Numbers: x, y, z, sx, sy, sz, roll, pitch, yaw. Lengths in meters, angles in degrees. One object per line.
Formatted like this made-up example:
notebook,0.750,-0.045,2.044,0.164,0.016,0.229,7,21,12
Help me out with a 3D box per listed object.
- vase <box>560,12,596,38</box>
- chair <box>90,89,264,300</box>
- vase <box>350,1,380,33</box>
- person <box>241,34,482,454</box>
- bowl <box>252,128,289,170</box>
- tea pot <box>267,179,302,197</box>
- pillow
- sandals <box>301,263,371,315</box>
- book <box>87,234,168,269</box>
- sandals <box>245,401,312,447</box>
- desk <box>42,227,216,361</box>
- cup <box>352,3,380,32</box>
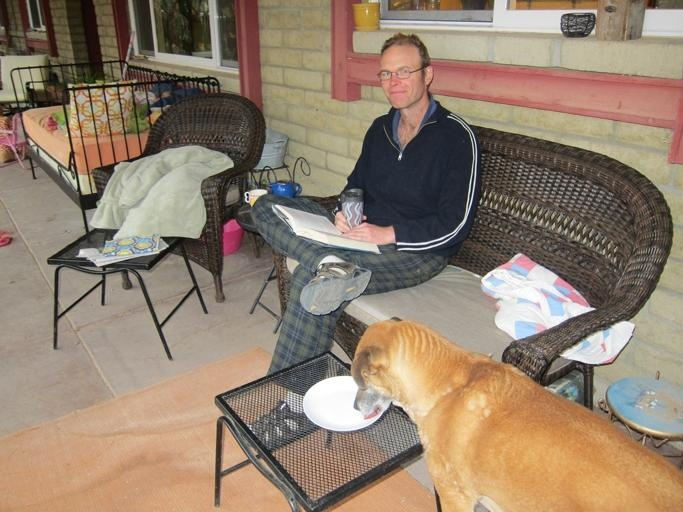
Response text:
vase,1.040,-1.030,2.253,0.147,0.077,0.131,-10,28,-15
chair,-0.922,-0.518,4.085,1.366,1.485,1.320,21,27,33
vase,0.159,-1.476,3.142,0.230,0.166,0.223,5,27,14
person,0.033,-0.161,2.696,1.515,1.772,0.961,-16,30,-26
bowl,-0.555,-0.888,4.192,0.354,0.228,0.299,-13,39,-22
tea pot,-0.388,-0.477,3.491,0.268,0.125,0.155,6,26,2
pillow,-2.124,-1.264,4.416,0.687,0.512,0.251,-16,36,-35
sandals,-0.016,0.125,2.099,0.341,0.157,0.157,-1,35,-45
book,-1.224,-0.028,2.834,0.466,0.028,0.346,-9,23,-24
sandals,-0.214,0.571,1.685,0.183,0.069,0.225,18,24,35
desk,-1.314,0.208,3.243,1.118,0.729,1.076,1,22,-13
cup,0.156,-1.488,3.123,0.171,0.158,0.184,1,28,-1
